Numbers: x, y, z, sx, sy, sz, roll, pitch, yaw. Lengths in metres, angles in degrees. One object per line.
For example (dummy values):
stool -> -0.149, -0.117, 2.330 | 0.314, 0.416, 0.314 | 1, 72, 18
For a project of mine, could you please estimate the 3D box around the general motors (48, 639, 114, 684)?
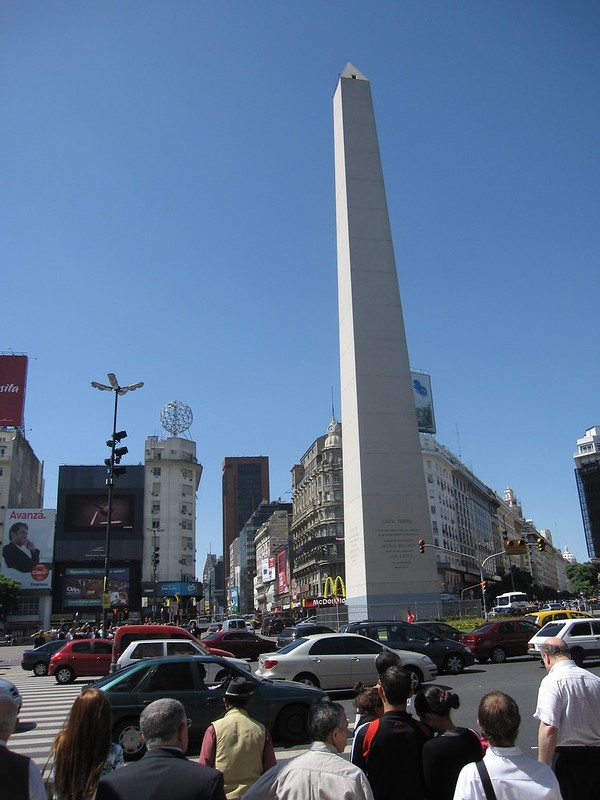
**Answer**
general motors -> -6.847, 8.202, 21.599 | 2.702, 1.235, 1.548 | -2, -8, -11

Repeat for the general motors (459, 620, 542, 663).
general motors -> 6.436, 7.847, 22.366 | 2.883, 1.020, 1.312 | -4, -8, -18

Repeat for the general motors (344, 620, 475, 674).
general motors -> 3.160, 6.492, 17.729 | 3.393, 1.422, 1.547 | 1, -11, -11

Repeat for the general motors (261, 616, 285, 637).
general motors -> -1.951, 16.794, 50.086 | 1.801, 1.567, 3.073 | 2, -8, -3

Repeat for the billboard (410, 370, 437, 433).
billboard -> 12.515, -0.038, 69.927 | 0.930, 8.578, 7.476 | -6, 1, 16

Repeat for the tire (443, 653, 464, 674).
tire -> 4.116, 7.030, 18.307 | 0.561, 0.553, 0.197 | -14, 7, -20

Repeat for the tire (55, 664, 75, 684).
tire -> -7.311, 8.495, 21.262 | 0.556, 0.550, 0.198 | -25, 5, -14

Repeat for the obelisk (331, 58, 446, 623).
obelisk -> 3.882, -4.921, 36.428 | 3.695, 31.533, 3.507 | -2, -19, 3
